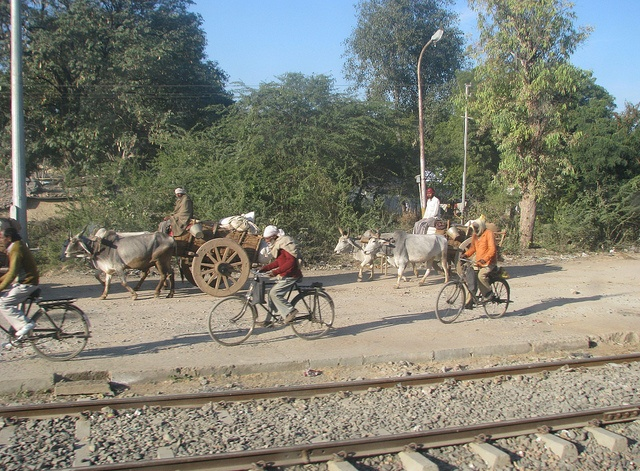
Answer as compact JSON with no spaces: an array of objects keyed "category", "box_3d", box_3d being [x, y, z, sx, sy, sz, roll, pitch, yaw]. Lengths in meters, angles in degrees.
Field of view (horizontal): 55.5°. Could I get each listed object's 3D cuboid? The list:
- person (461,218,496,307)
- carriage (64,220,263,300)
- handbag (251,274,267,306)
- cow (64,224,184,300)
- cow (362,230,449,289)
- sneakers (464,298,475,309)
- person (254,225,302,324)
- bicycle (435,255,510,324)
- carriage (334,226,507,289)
[{"category":"person","box_3d":[3.732,0.582,14.073,0.646,1.827,0.577,-8,17,-30]},{"category":"carriage","box_3d":[-3.944,0.601,15.821,4.525,1.548,2.039,1,-2,-4]},{"category":"handbag","box_3d":[-1.396,1.116,12.480,0.375,0.605,0.352,-6,-6,29]},{"category":"cow","box_3d":[-5.057,0.769,15.399,2.808,1.711,0.793,-2,-4,-11]},{"category":"cow","box_3d":[2.567,0.670,17.734,2.589,1.684,0.750,-6,17,-27]},{"category":"sneakers","box_3d":[3.426,1.566,13.929,0.175,0.237,0.081,31,4,21]},{"category":"person","box_3d":[-0.823,0.905,12.470,0.798,1.850,0.525,0,15,-2]},{"category":"bicycle","box_3d":[3.524,1.255,14.118,2.449,1.375,1.007,2,3,-32]},{"category":"carriage","box_3d":[2.433,0.583,17.674,3.933,1.527,1.198,2,-3,-20]}]
